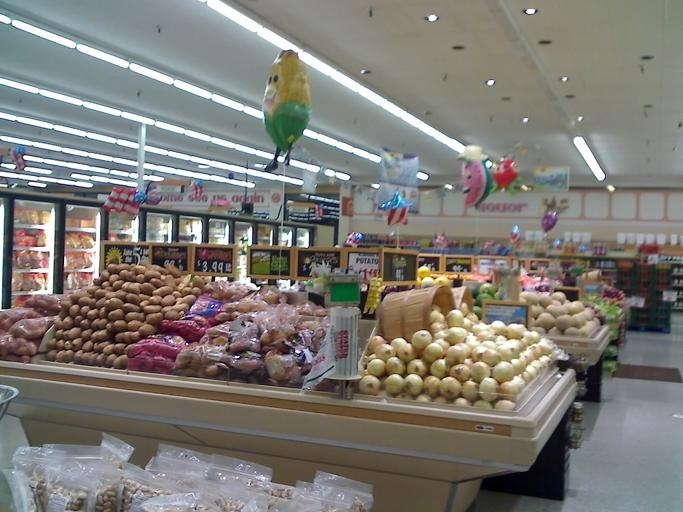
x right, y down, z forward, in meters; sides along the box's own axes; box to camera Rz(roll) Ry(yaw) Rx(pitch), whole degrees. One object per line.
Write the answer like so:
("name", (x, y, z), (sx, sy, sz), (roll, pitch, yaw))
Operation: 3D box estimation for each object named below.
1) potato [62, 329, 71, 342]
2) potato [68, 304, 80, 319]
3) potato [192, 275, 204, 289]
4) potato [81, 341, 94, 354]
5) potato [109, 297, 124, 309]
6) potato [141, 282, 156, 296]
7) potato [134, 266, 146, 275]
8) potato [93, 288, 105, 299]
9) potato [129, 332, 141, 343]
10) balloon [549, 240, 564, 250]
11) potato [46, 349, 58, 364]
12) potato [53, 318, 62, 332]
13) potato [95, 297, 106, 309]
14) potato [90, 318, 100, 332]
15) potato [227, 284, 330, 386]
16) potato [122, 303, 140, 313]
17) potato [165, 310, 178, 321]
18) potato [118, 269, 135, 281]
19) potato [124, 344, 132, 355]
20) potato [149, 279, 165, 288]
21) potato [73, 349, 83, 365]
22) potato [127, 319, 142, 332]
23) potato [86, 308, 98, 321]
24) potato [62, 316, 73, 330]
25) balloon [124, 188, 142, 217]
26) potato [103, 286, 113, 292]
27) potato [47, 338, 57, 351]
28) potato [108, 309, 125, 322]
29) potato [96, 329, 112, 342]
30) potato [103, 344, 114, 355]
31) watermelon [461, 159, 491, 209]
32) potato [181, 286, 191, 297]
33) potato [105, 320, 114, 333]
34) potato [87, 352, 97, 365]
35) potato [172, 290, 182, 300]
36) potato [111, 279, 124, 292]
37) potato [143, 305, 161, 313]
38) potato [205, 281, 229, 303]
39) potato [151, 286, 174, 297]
("potato", (-1.864, 0.554, 3.204), (0.057, 0.058, 0.056), (-9, -11, 20))
("potato", (-1.857, 0.387, 3.269), (0.060, 0.067, 0.085), (8, 2, 8))
("potato", (-1.111, 0.204, 3.664), (0.070, 0.055, 0.138), (0, 11, -4))
("potato", (-1.674, 0.602, 3.121), (0.056, 0.076, 0.056), (42, -6, 36))
("potato", (-1.510, 0.324, 3.158), (0.079, 0.065, 0.058), (-1, 2, -41))
("potato", (-1.371, 0.237, 3.320), (0.066, 0.070, 0.092), (-30, -17, 10))
("potato", (-1.483, 0.107, 3.464), (0.056, 0.048, 0.076), (5, -18, -17))
("potato", (-1.678, 0.268, 3.273), (0.067, 0.038, 0.071), (-2, 25, 17))
("potato", (-1.340, 0.530, 3.049), (0.053, 0.056, 0.070), (19, -34, -28))
("balloon", (7.180, -0.299, 15.612), (0.460, 0.235, 0.593), (4, 18, 12))
("potato", (-1.942, 0.681, 3.158), (0.045, 0.118, 0.053), (6, 19, 21))
("potato", (-1.989, 0.487, 3.293), (0.058, 0.066, 0.066), (3, 25, 46))
("potato", (-1.648, 0.325, 3.218), (0.050, 0.035, 0.100), (25, -24, -12))
("potato", (-1.656, 0.464, 3.200), (0.060, 0.047, 0.083), (-18, 22, 9))
("potato", (-0.358, 0.468, 2.886), (0.363, 0.188, 0.537), (6, 18, 10))
("potato", (-1.412, 0.355, 3.159), (0.100, 0.052, 0.046), (16, -9, -2))
("potato", (-1.156, 0.405, 3.200), (0.064, 0.067, 0.076), (0, -21, -31))
("potato", (-1.542, 0.145, 3.375), (0.073, 0.043, 0.079), (4, 35, -12))
("potato", (-1.342, 0.603, 2.970), (0.021, 0.059, 0.061), (38, -11, -24))
("potato", (-1.353, 0.192, 3.411), (0.065, 0.035, 0.068), (17, 15, 18))
("potato", (-1.720, 0.667, 3.074), (0.060, 0.086, 0.082), (-12, -18, 26))
("potato", (-1.360, 0.461, 3.080), (0.059, 0.048, 0.081), (0, 1, -2))
("potato", (-1.691, 0.401, 3.197), (0.054, 0.059, 0.078), (-4, 4, 9))
("potato", (-1.911, 0.477, 3.311), (0.061, 0.086, 0.047), (-4, -33, 7))
("balloon", (-3.915, -0.988, 8.800), (0.180, 0.641, 0.452), (8, -1, -9))
("potato", (-1.647, 0.233, 3.316), (0.044, 0.040, 0.039), (-6, 17, 15))
("potato", (-1.988, 0.610, 3.229), (0.048, 0.067, 0.030), (24, -4, -35))
("potato", (-1.509, 0.398, 3.135), (0.063, 0.051, 0.087), (-1, 9, 1))
("potato", (-1.588, 0.531, 3.117), (0.051, 0.044, 0.107), (1, -1, -10))
("potato", (-1.509, 0.605, 3.060), (0.070, 0.057, 0.089), (7, 4, -9))
("watermelon", (2.440, -1.330, 8.494), (0.529, 0.746, 0.450), (8, 4, 16))
("potato", (-1.148, 0.268, 3.475), (0.047, 0.053, 0.068), (13, 48, 23))
("potato", (-1.525, 0.473, 3.113), (0.036, 0.066, 0.068), (14, 21, -33))
("potato", (-1.607, 0.664, 3.025), (0.030, 0.069, 0.051), (-6, 42, -38))
("potato", (-1.193, 0.289, 3.400), (0.053, 0.040, 0.068), (5, -8, -9))
("potato", (-1.579, 0.211, 3.305), (0.057, 0.035, 0.072), (23, -55, -37))
("potato", (-1.286, 0.367, 3.203), (0.111, 0.050, 0.079), (6, 4, -25))
("potato", (-0.979, 0.273, 3.694), (0.121, 0.080, 0.176), (2, 20, -10))
("potato", (-1.276, 0.256, 3.357), (0.099, 0.048, 0.056), (-3, 24, -24))
